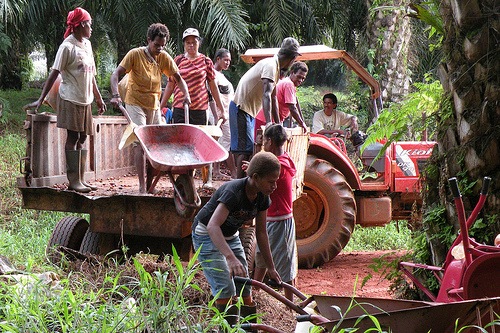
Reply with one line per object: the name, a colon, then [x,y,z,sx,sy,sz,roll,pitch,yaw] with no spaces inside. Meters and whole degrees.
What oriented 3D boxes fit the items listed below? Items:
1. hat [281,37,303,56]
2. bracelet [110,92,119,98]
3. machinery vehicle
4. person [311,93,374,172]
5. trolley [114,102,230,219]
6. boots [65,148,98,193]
hat: [0.570,-1.719,6.889,0.281,0.271,0.229,1,5,1]
bracelet: [-1.789,-0.943,6.390,0.086,0.065,0.109,0,5,-13]
machinery vehicle: [0.810,0.173,9.383,6.335,4.039,3.684,-1,-17,23]
person: [1.656,-0.855,9.389,1.427,1.644,0.950,13,31,36]
trolley: [-1.057,-0.147,6.344,1.482,1.075,2.007,-4,23,-30]
boots: [-2.296,0.050,6.529,0.378,0.546,0.532,-2,6,-31]
